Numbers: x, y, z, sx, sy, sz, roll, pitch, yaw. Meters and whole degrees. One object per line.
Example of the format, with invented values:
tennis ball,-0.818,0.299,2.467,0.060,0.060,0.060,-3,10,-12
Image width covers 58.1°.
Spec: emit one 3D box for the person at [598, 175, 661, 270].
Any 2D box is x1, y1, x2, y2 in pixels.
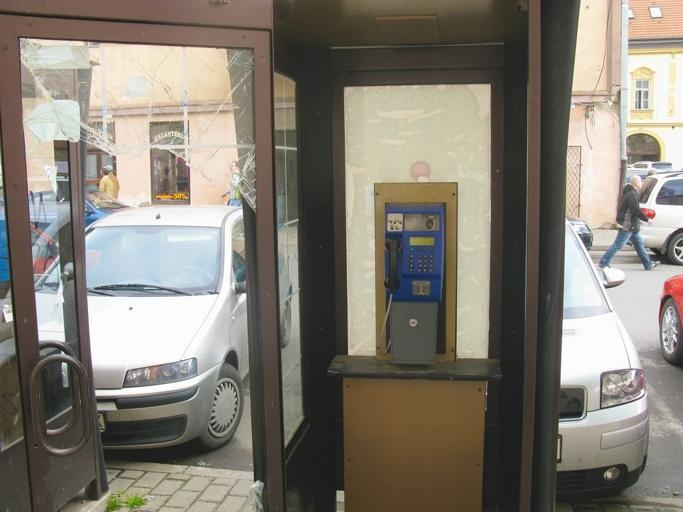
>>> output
person,5.477,-0.641,11.623,1.109,2.343,0.693,0,1,1
